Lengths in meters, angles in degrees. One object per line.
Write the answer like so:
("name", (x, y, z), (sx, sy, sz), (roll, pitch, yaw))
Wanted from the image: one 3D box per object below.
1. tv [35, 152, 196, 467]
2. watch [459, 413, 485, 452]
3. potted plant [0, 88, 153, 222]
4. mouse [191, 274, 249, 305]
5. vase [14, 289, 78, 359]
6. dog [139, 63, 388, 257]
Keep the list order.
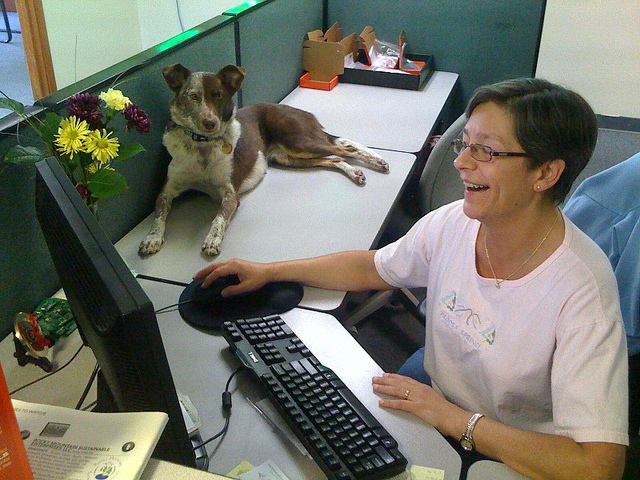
("tv", (-0.391, 0.130, 0.945), (0.056, 0.398, 0.542), (-21, 46, -19))
("watch", (0.304, 0.388, 1.024), (0.049, 0.053, 0.030), (12, 1, -11))
("potted plant", (-0.558, -0.197, 1.153), (0.251, 0.263, 0.232), (26, 56, 10))
("mouse", (-0.257, 0.124, 1.261), (0.115, 0.033, 0.068), (-13, 53, -14))
("vase", (-0.617, 0.189, 1.148), (0.095, 0.038, 0.137), (40, 15, -13))
("dog", (-0.199, -0.365, 1.727), (0.365, 0.553, 0.958), (22, 36, 38))
